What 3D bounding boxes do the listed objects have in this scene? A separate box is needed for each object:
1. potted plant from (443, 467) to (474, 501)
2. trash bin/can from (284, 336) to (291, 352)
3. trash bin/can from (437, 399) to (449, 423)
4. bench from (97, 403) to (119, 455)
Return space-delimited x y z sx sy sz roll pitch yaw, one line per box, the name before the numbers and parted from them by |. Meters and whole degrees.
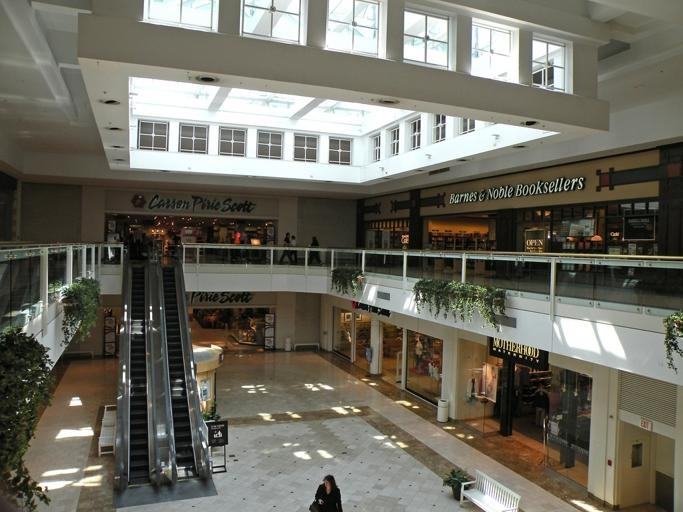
potted plant | 2.805 5.479 11.870 0.557 0.508 0.571 0 3 -6
trash bin/can | -2.941 4.800 27.002 0.407 0.739 0.500 1 2 -9
trash bin/can | 3.391 5.159 16.307 0.350 0.708 0.208 1 2 -4
bench | -6.684 5.004 14.056 0.315 0.375 1.606 5 7 -14
